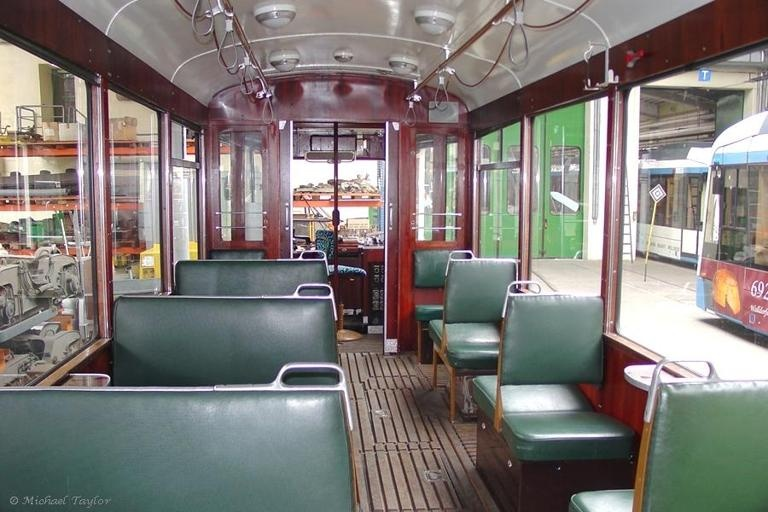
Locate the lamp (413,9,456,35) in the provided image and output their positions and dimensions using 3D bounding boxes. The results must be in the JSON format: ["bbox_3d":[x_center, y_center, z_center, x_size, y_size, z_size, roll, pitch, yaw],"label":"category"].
[{"bbox_3d":[0.441,-2.042,4.901,0.324,0.149,0.311,4,11,20],"label":"lamp"}]

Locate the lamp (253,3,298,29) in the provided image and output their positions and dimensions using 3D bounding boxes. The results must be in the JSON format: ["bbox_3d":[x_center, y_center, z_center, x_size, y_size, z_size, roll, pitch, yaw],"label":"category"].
[{"bbox_3d":[-0.928,-2.049,4.779,0.266,0.147,0.308,-9,14,-41],"label":"lamp"}]
